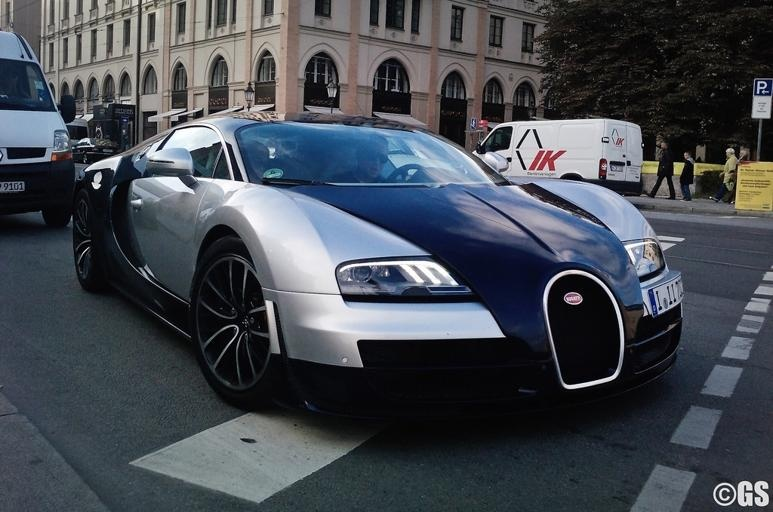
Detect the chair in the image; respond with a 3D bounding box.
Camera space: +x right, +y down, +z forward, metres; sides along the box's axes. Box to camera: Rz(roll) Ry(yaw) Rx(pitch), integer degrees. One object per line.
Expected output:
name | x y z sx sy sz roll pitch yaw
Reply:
chair | -0.671 -0.646 3.386 0.499 0.179 0.346 -8 22 -22
